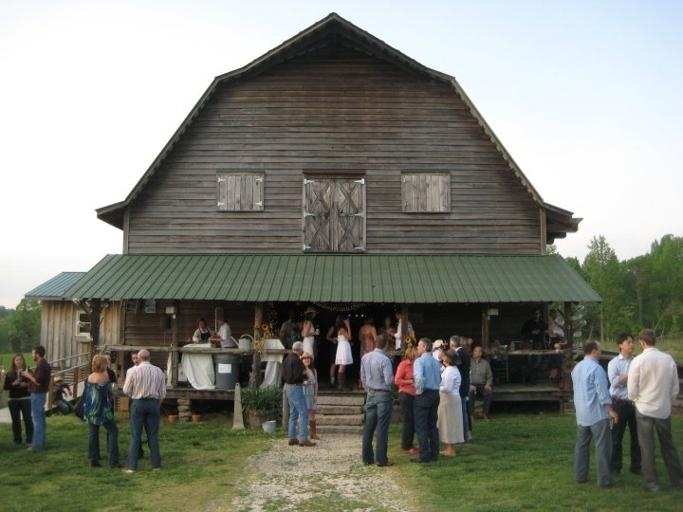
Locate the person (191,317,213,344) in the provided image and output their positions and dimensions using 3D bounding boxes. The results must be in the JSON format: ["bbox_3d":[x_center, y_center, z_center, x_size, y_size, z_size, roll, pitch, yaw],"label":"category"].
[{"bbox_3d":[-4.647,2.462,32.267,0.776,1.104,0.768,0,-5,-8],"label":"person"}]

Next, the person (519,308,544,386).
[{"bbox_3d":[6.457,2.949,32.573,0.882,2.452,0.992,1,-9,-12],"label":"person"}]

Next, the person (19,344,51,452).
[{"bbox_3d":[-8.671,3.993,27.377,0.905,2.804,1.017,-2,-9,4],"label":"person"}]

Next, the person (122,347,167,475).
[{"bbox_3d":[-5.165,4.009,25.404,1.010,3.167,1.000,1,-9,-10],"label":"person"}]

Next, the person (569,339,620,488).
[{"bbox_3d":[6.219,3.859,23.976,1.018,3.527,0.692,-5,-10,26],"label":"person"}]

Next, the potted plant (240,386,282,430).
[{"bbox_3d":[-2.690,4.683,30.032,1.246,1.189,1.260,-13,-19,38],"label":"potted plant"}]

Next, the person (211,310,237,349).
[{"bbox_3d":[-3.844,2.349,32.153,0.767,1.444,2.206,0,-9,-7],"label":"person"}]

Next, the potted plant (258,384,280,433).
[{"bbox_3d":[-2.128,4.563,29.648,0.934,1.111,1.044,-2,-5,-3],"label":"potted plant"}]

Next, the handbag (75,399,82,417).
[{"bbox_3d":[-8.122,4.702,30.037,0.232,0.533,0.848,2,-9,-15],"label":"handbag"}]

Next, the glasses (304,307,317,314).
[{"bbox_3d":[-0.949,1.732,31.402,0.245,0.101,0.238,10,-15,-28],"label":"glasses"}]

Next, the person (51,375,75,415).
[{"bbox_3d":[-9.175,4.647,31.894,0.816,1.374,0.486,8,7,6],"label":"person"}]

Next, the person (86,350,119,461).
[{"bbox_3d":[-6.355,4.079,25.712,0.945,2.937,0.898,1,-9,-12],"label":"person"}]
